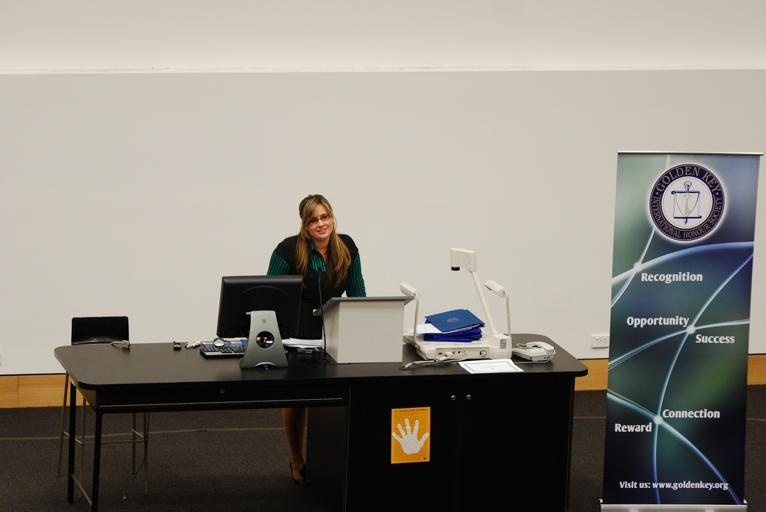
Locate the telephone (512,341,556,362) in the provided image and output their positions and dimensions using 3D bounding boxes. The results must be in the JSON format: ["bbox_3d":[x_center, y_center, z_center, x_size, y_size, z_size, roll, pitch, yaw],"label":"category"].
[{"bbox_3d":[1.087,0.681,5.686,0.140,0.089,0.244,-1,2,-19],"label":"telephone"}]

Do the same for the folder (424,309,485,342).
[{"bbox_3d":[0.535,0.507,5.692,0.270,0.092,0.280,-3,10,-15],"label":"folder"}]

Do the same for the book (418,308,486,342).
[{"bbox_3d":[0.535,0.513,5.695,0.282,0.099,0.291,-3,10,-12],"label":"book"}]

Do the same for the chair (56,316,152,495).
[{"bbox_3d":[-2.230,1.184,6.246,0.728,1.343,0.779,1,-12,-43],"label":"chair"}]

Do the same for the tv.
[{"bbox_3d":[-0.866,0.470,5.501,0.567,0.641,0.317,2,4,-8],"label":"tv"}]
